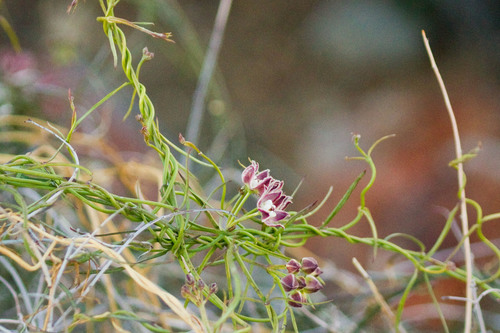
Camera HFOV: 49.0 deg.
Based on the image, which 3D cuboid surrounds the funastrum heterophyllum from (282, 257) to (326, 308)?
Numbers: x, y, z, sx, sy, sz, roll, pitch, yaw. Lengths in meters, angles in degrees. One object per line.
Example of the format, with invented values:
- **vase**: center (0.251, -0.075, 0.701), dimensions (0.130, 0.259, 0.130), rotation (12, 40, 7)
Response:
- **funastrum heterophyllum**: center (0.081, 0.182, 0.879), dimensions (0.074, 0.076, 0.037), rotation (12, -12, -26)

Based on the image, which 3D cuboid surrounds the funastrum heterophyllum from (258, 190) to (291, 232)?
- **funastrum heterophyllum**: center (0.034, 0.059, 0.887), dimensions (0.052, 0.034, 0.059), rotation (12, 5, -11)

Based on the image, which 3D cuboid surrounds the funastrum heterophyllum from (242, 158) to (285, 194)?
- **funastrum heterophyllum**: center (0.023, 0.027, 0.894), dimensions (0.055, 0.041, 0.059), rotation (2, 9, -36)
